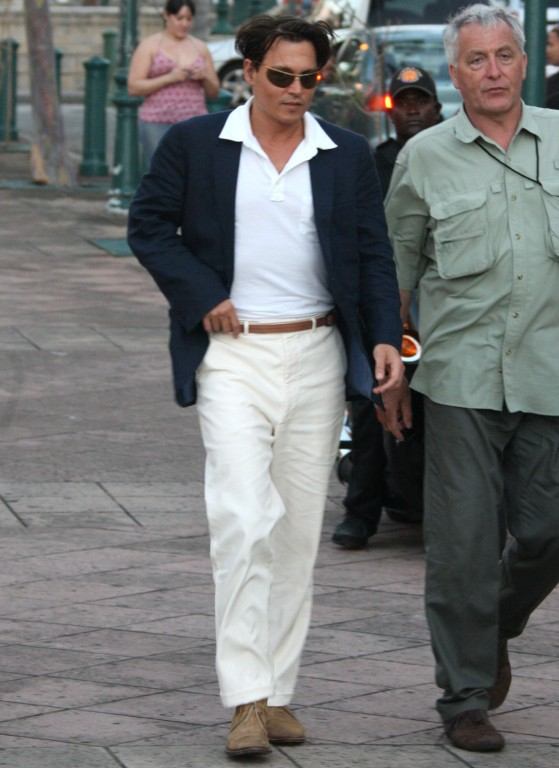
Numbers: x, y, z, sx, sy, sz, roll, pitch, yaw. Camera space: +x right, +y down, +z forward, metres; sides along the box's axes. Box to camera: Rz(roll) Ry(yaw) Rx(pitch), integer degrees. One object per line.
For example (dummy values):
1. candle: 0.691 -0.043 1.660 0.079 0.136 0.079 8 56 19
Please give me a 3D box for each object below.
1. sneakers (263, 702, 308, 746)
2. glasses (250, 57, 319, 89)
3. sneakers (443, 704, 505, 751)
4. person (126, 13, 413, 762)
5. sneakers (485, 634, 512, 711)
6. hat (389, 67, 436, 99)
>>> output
1. sneakers: 0.012 0.838 2.870 0.065 0.052 0.149 1 -8 -16
2. glasses: 0.035 -0.766 2.941 0.139 0.061 0.068 2 9 -8
3. sneakers: 0.470 0.844 2.858 0.104 0.092 0.153 0 9 -23
4. person: 0.002 0.062 2.981 0.721 1.588 0.709 2 11 -14
5. sneakers: 0.594 0.774 3.141 0.082 0.189 0.096 6 7 21
6. hat: 0.601 -1.359 5.284 0.173 0.100 0.208 -1 -7 6
